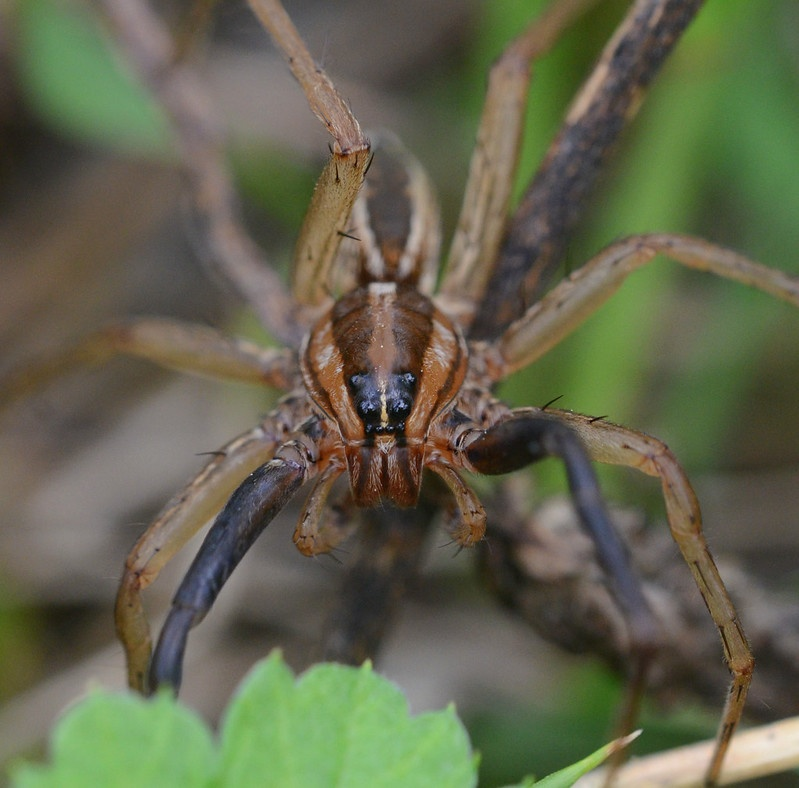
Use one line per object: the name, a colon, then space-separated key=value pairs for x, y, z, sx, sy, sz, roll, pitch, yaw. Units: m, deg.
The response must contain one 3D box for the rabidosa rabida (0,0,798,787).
rabidosa rabida: x=0.016 y=-0.054 z=0.868 sx=0.678 sy=0.246 sz=0.751 roll=2 pitch=56 yaw=8
